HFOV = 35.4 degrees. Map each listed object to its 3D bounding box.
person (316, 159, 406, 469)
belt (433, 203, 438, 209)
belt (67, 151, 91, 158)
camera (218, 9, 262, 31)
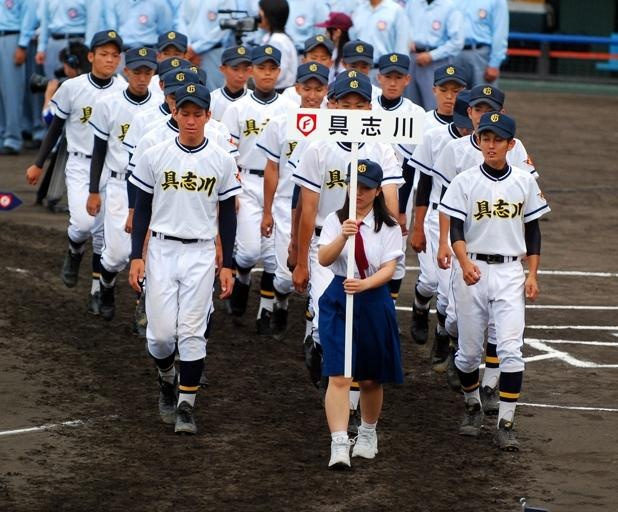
[{"bbox_3d":[0.336,0.385,6.299,0.561,1.956,0.747,1,14,0],"label":"person"},{"bbox_3d":[1.093,-0.441,8.381,0.040,0.076,0.044,-2,1,-4],"label":"belt"},{"bbox_3d":[-2.262,-1.001,9.474,0.254,0.064,0.051,6,15,17],"label":"belt"},{"bbox_3d":[-1.011,-3.487,14.290,0.634,0.376,0.646,9,13,39],"label":"camera"}]
